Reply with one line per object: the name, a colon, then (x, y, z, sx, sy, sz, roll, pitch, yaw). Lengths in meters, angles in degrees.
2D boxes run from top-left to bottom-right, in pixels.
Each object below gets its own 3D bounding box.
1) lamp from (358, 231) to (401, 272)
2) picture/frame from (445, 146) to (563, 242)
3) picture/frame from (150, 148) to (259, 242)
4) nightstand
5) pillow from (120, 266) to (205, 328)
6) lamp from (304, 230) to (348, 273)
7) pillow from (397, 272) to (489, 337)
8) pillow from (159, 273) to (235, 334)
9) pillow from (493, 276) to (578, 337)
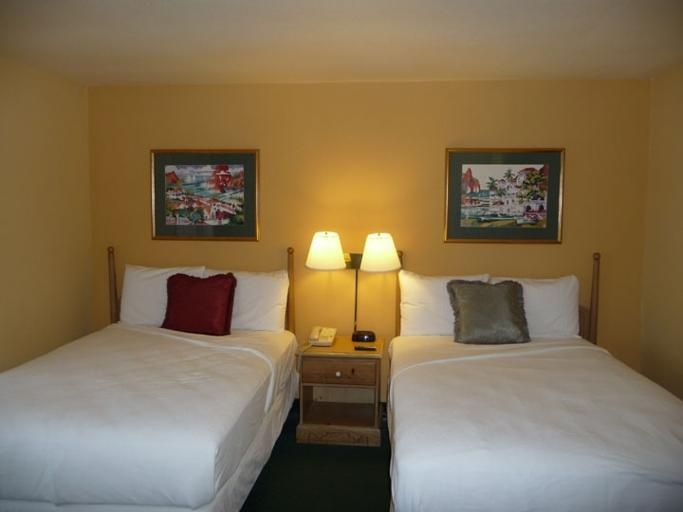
lamp: (0.283, 0.002, 4.038, 0.311, 0.309, 0.328, -3, 8, -9)
picture/frame: (1.252, -0.499, 4.124, 0.658, 0.600, 0.027, 0, 4, 4)
picture/frame: (-1.043, -0.507, 4.293, 0.671, 0.614, 0.027, 1, 4, 6)
nightstand: (0.018, 0.922, 3.978, 0.707, 0.736, 0.592, 0, -4, 6)
pillow: (-1.429, 0.285, 4.109, 0.531, 0.457, 0.158, 2, -11, 5)
lamp: (-0.112, -0.038, 4.089, 0.347, 0.304, 0.352, 2, 2, 32)
pillow: (0.711, 0.347, 3.816, 0.421, 0.355, 0.153, 0, 3, 1)
pillow: (-1.002, 0.337, 3.732, 0.408, 0.431, 0.114, 2, -8, 3)
pillow: (1.329, 0.360, 3.750, 0.346, 0.292, 0.127, 2, -24, 10)
